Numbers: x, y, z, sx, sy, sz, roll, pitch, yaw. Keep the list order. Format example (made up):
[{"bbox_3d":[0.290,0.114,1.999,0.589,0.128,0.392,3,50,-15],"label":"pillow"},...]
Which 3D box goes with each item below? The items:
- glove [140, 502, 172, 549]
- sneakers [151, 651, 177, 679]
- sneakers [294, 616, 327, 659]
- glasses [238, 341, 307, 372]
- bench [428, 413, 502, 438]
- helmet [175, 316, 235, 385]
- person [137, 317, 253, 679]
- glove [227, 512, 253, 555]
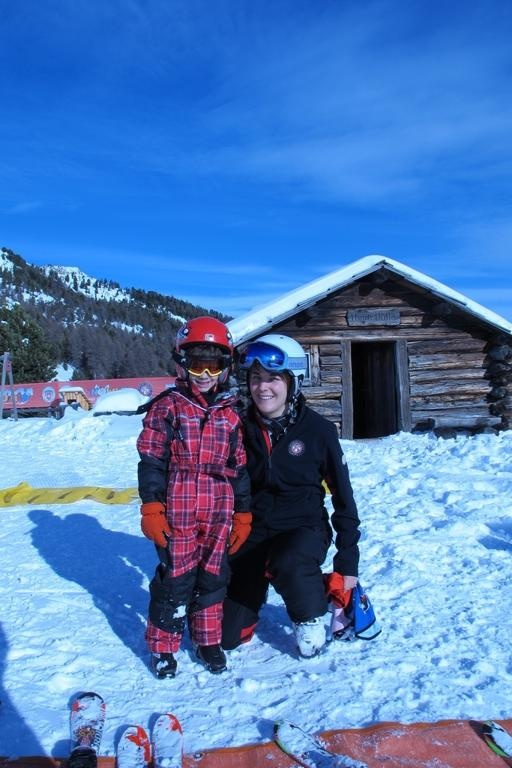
[{"bbox_3d":[-0.468,0.675,3.007,0.163,0.200,0.097,-10,-15,12],"label":"glove"},{"bbox_3d":[-0.428,1.323,2.949,0.084,0.054,0.131,7,36,-10],"label":"sneakers"},{"bbox_3d":[0.274,1.246,3.177,0.136,0.232,0.238,1,5,11],"label":"sneakers"},{"bbox_3d":[0.126,-0.144,3.380,0.208,0.176,0.243,14,-16,32],"label":"glasses"},{"bbox_3d":[3.423,0.662,10.338,1.428,0.306,0.321,0,-5,-16],"label":"bench"},{"bbox_3d":[-0.301,-0.181,3.216,0.301,0.330,0.354,4,4,-10],"label":"helmet"},{"bbox_3d":[-0.309,0.517,3.136,0.508,1.699,0.606,1,6,11],"label":"person"},{"bbox_3d":[-0.089,0.758,3.222,0.081,0.189,0.147,27,2,-15],"label":"glove"}]
